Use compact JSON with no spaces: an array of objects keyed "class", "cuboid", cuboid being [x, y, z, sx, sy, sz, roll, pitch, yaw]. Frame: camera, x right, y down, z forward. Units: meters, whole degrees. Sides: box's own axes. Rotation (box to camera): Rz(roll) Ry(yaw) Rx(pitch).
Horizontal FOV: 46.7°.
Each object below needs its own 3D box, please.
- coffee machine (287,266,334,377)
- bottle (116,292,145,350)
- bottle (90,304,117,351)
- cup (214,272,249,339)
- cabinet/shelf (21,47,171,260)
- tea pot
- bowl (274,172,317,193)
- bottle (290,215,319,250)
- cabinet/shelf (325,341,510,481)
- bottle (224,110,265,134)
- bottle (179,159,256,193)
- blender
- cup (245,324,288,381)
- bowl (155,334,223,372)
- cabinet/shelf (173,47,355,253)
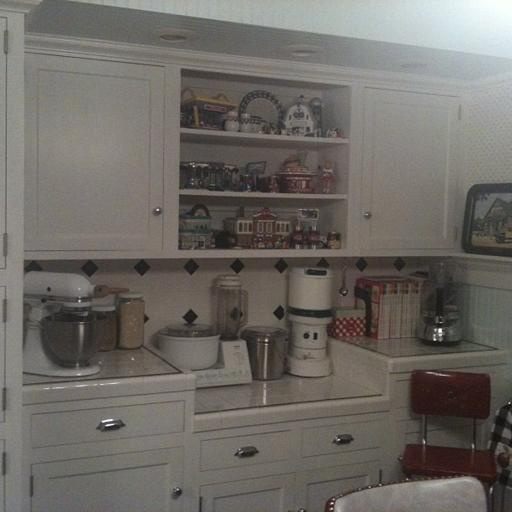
[{"class":"coffee machine","cuboid":[0.270,0.326,3.000,0.229,0.544,0.248,0,7,9]},{"class":"bottle","cuboid":[-0.570,0.295,2.734,0.135,0.267,0.123,-5,8,-27]},{"class":"bottle","cuboid":[-0.650,0.335,2.711,0.140,0.201,0.138,-6,-6,-1]},{"class":"cup","cuboid":[-0.127,0.254,2.995,0.174,0.323,0.261,-1,7,-5]},{"class":"cabinet/shelf","cuboid":[-0.709,-0.396,2.666,0.584,0.801,0.462,0,-6,-15]},{"class":"tea pot","cuboid":[0.907,0.304,2.933,0.239,0.323,0.232,1,-3,0]},{"class":"bowl","cuboid":[0.182,-0.360,2.877,0.133,0.073,0.147,0,2,-8]},{"class":"bottle","cuboid":[0.254,-0.109,2.964,0.133,0.174,0.164,2,5,10]},{"class":"cabinet/shelf","cuboid":[0.724,0.670,2.964,0.659,0.936,0.601,2,4,-4]},{"class":"bottle","cuboid":[-0.041,-0.630,2.792,0.236,0.107,0.162,-4,8,-25]},{"class":"bottle","cuboid":[-0.183,-0.376,2.785,0.388,0.135,0.153,-4,8,-26]},{"class":"blender","cuboid":[-0.764,0.252,2.363,0.338,0.386,0.231,0,0,16]},{"class":"cup","cuboid":[0.052,0.468,2.883,0.224,0.227,0.218,1,0,0]},{"class":"bowl","cuboid":[-0.306,0.444,2.809,0.270,0.138,0.285,0,0,0]},{"class":"cabinet/shelf","cuboid":[-0.005,-0.412,2.827,0.930,0.895,0.324,-3,-2,-26]}]
